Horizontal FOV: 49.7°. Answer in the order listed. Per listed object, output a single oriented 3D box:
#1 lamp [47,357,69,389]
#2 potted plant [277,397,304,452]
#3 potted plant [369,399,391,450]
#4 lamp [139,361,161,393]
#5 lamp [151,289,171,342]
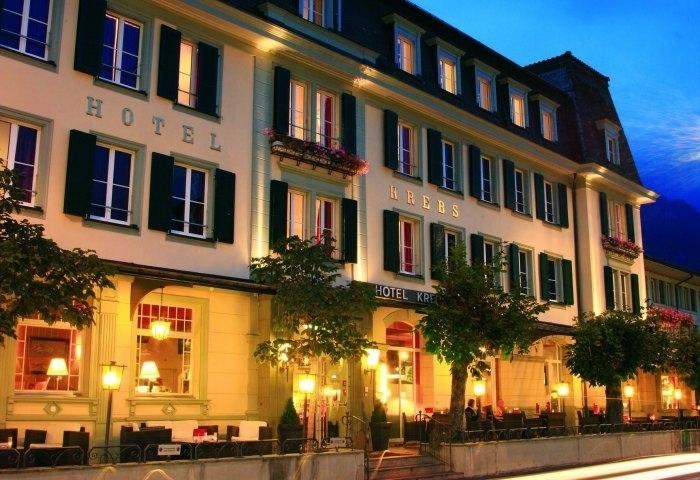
[{"bbox_3d":[-8.091,3.681,20.790,0.561,0.840,0.282,6,-17,-24],"label":"lamp"},{"bbox_3d":[-1.706,5.243,21.340,0.734,1.559,1.883,0,-16,-5],"label":"potted plant"},{"bbox_3d":[0.969,6.071,24.592,0.627,1.602,1.161,-1,-15,2],"label":"potted plant"},{"bbox_3d":[-5.858,4.018,22.045,0.621,0.892,0.553,5,-17,-23],"label":"lamp"},{"bbox_3d":[-5.628,2.221,22.415,0.591,1.510,0.898,3,-16,-14],"label":"lamp"}]
